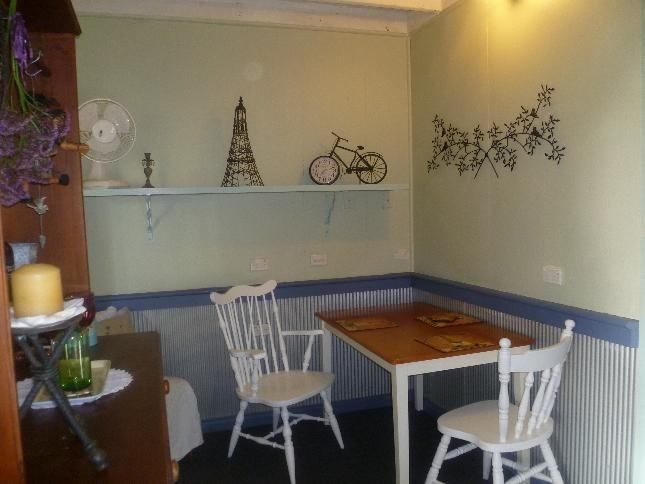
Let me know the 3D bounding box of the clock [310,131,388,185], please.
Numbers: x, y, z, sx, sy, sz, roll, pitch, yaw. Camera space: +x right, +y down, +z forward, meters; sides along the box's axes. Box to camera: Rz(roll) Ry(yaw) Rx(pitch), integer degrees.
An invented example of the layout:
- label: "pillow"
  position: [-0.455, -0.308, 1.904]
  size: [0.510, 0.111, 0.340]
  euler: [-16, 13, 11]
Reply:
- label: "clock"
  position: [0.192, -0.564, 3.585]
  size: [0.610, 0.369, 0.215]
  euler: [4, 9, -34]

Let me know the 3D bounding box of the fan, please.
- label: "fan"
  position: [-1.376, -0.621, 3.217]
  size: [0.343, 0.517, 0.286]
  euler: [-4, 16, -27]

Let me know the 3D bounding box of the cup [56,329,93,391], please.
- label: "cup"
  position: [-0.769, 0.373, 1.601]
  size: [0.100, 0.191, 0.080]
  euler: [3, 9, -30]

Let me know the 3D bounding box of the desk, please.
- label: "desk"
  position: [0.564, 0.527, 2.936]
  size: [0.793, 0.803, 1.139]
  euler: [-1, 3, -22]
